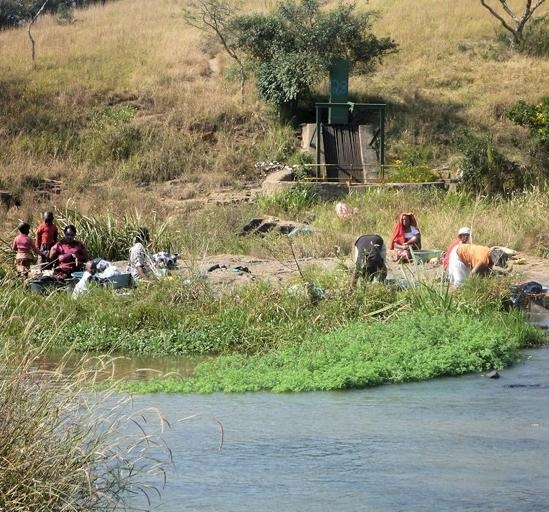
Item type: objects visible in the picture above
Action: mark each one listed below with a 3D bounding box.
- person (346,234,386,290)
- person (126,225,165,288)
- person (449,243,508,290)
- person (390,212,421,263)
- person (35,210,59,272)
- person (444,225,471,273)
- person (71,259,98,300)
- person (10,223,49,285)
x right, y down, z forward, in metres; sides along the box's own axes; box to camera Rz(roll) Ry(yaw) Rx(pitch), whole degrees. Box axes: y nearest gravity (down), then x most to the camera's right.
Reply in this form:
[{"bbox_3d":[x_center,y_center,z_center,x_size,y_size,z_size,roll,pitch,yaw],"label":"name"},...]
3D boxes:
[{"bbox_3d":[2.010,0.186,26.695,0.598,1.088,2.252,-3,13,10],"label":"person"},{"bbox_3d":[-2.864,0.100,27.689,0.644,1.178,1.144,-4,15,-15],"label":"person"},{"bbox_3d":[4.361,0.167,27.421,1.019,0.970,0.791,9,17,23],"label":"person"},{"bbox_3d":[3.036,-0.438,29.505,0.741,1.126,0.844,4,15,17],"label":"person"},{"bbox_3d":[-5.232,-0.167,28.877,0.434,1.773,0.301,4,-27,-18],"label":"person"},{"bbox_3d":[4.042,-0.174,27.867,0.588,0.954,0.323,18,1,-9],"label":"person"},{"bbox_3d":[-4.144,0.485,27.190,0.405,0.526,1.027,0,16,1],"label":"person"},{"bbox_3d":[-5.718,-0.095,28.684,0.458,1.483,0.478,3,19,0],"label":"person"}]
